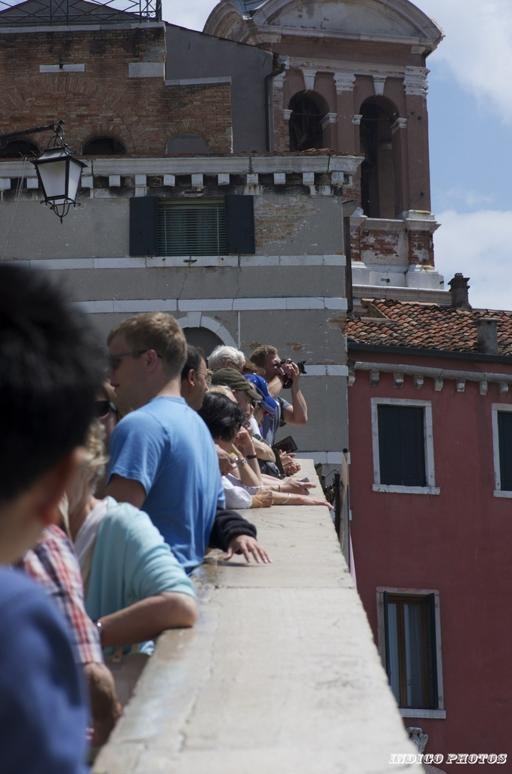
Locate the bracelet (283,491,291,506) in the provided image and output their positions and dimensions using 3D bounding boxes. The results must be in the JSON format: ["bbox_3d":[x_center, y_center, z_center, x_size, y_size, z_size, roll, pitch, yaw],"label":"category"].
[{"bbox_3d":[0.142,0.498,6.182,0.035,0.052,0.029,-5,1,0],"label":"bracelet"}]

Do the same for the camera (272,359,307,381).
[{"bbox_3d":[0.205,-0.100,8.481,0.217,0.169,0.079,3,4,-33],"label":"camera"}]

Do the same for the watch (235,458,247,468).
[{"bbox_3d":[-0.054,0.305,5.609,0.040,0.032,0.046,2,-5,38],"label":"watch"}]
